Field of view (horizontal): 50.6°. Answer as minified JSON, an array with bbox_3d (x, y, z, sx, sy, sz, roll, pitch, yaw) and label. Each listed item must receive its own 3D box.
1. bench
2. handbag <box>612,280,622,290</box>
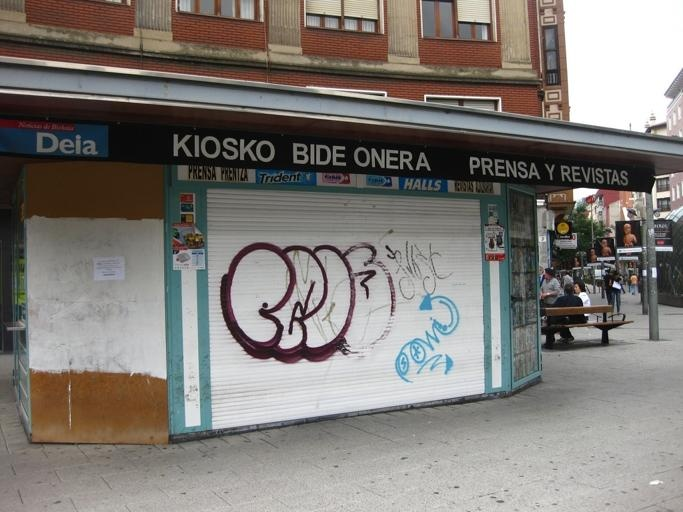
[{"bbox_3d":[5.505,1.596,16.455,2.045,0.781,0.669,-1,-1,-17],"label":"bench"},{"bbox_3d":[9.925,1.056,26.091,0.293,0.291,0.082,12,-3,-19],"label":"handbag"}]
